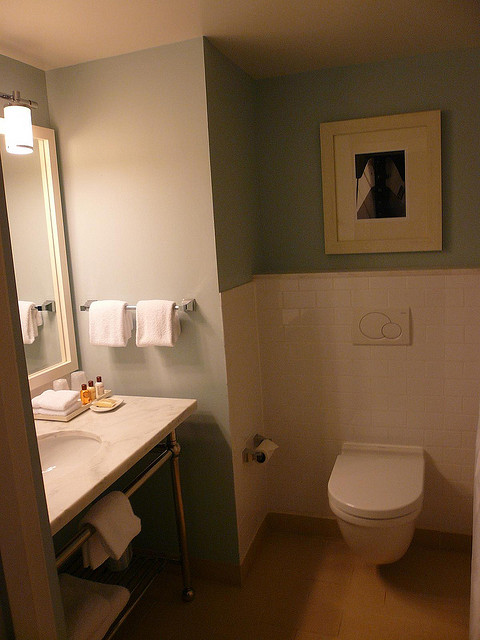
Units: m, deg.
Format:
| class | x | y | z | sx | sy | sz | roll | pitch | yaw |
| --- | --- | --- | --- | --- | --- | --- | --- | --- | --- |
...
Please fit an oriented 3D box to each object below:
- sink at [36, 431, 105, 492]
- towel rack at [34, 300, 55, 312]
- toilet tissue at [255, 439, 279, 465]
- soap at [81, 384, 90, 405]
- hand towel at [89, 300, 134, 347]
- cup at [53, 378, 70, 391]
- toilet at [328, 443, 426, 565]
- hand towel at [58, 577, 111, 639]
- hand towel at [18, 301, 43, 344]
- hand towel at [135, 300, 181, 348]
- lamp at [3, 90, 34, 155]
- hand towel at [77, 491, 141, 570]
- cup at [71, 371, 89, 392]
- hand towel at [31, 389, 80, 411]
| class | x | y | z | sx | sy | sz | roll | pitch | yaw |
| --- | --- | --- | --- | --- | --- | --- | --- | --- | --- |
| sink | -0.561 | 0.463 | 1.737 | 0.240 | 0.103 | 0.232 | -3 | 24 | 12 |
| towel rack | -0.822 | -0.060 | 2.100 | 0.035 | 0.033 | 0.067 | 4 | 7 | 13 |
| toilet tissue | 0.123 | 0.594 | 2.334 | 0.035 | 0.116 | 0.081 | 40 | 0 | -31 |
| soap | -0.631 | 0.302 | 2.049 | 0.034 | 0.073 | 0.046 | -5 | 8 | -22 |
| hand towel | -0.536 | -0.013 | 2.201 | 0.187 | 0.226 | 0.170 | 3 | 13 | 16 |
| cup | -0.745 | 0.268 | 2.084 | 0.038 | 0.055 | 0.052 | 2 | -1 | 10 |
| toilet | 0.603 | 0.698 | 2.190 | 0.369 | 0.428 | 0.553 | 0 | 9 | 18 |
| hand towel | -0.464 | 0.867 | 1.522 | 0.132 | 0.074 | 0.286 | -6 | 9 | -24 |
| hand towel | -0.788 | 0.005 | 1.884 | 0.133 | 0.119 | 0.073 | 4 | 12 | 22 |
| hand towel | -0.345 | 0.012 | 2.098 | 0.158 | 0.194 | 0.147 | 0 | 0 | 5 |
| lamp | -0.807 | -0.709 | 1.818 | 0.095 | 0.203 | 0.180 | -6 | 8 | -24 |
| hand towel | -0.417 | 0.657 | 1.572 | 0.106 | 0.175 | 0.215 | 9 | 8 | 12 |
| cup | -0.688 | 0.266 | 2.149 | 0.062 | 0.094 | 0.073 | -1 | -3 | 5 |
| hand towel | -0.715 | 0.305 | 1.942 | 0.092 | 0.033 | 0.100 | 3 | 12 | 22 |
